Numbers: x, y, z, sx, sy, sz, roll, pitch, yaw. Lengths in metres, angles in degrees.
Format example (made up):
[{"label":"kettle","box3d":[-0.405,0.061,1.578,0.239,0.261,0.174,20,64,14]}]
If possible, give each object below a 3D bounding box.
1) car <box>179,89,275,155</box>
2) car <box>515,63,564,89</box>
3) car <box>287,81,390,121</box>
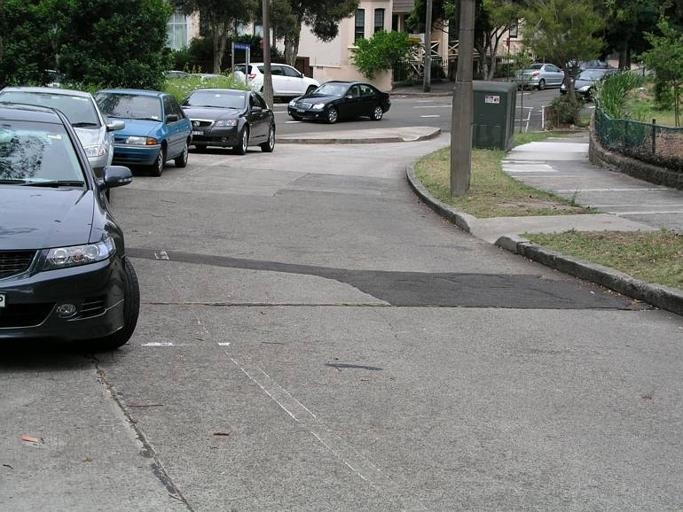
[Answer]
[{"label":"car","box3d":[-3.833,-4.446,23.004,2.645,2.004,3.526,6,12,10]},{"label":"car","box3d":[16.605,-14.991,58.214,2.421,2.321,4.941,9,13,23]},{"label":"car","box3d":[-0.164,-7.786,35.481,5.017,2.097,1.987,-6,15,-39]}]
